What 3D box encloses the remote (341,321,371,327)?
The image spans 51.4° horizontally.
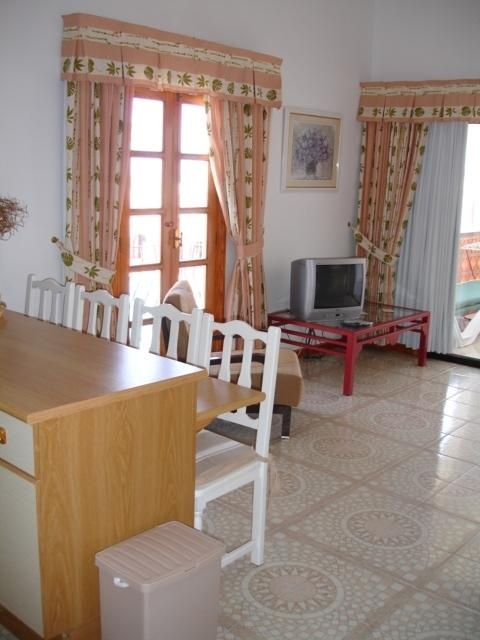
[{"bbox_3d":[1.016,0.036,4.293,0.251,0.029,0.223,4,7,11],"label":"remote"}]

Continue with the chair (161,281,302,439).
[{"bbox_3d":[-0.018,0.237,3.232,0.602,0.897,0.842,9,-6,35],"label":"chair"}]

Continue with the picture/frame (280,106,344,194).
[{"bbox_3d":[0.697,-1.587,4.756,0.859,0.755,0.032,-14,22,-41],"label":"picture/frame"}]

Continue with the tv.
[{"bbox_3d":[0.778,-0.337,4.579,0.823,0.737,0.482,-6,14,-25],"label":"tv"}]
